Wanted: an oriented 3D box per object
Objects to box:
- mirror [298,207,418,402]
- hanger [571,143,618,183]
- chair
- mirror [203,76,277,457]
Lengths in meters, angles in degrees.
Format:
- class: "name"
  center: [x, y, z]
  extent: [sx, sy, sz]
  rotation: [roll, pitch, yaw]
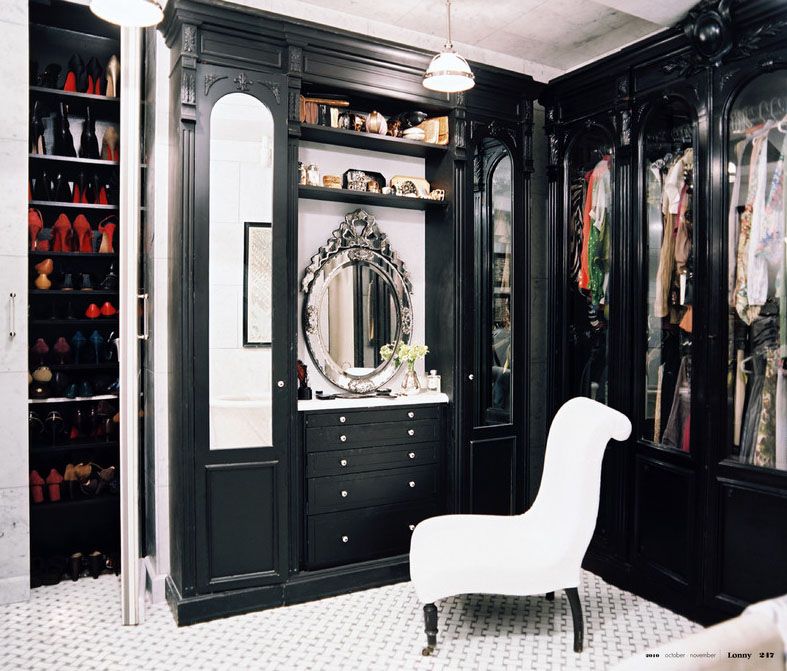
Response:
- class: "mirror"
  center: [-0.267, -0.186, 4.338]
  extent: [1.013, 1.651, 0.076]
  rotation: [-2, 0, -39]
- class: "hanger"
  center: [1.326, -1.138, 4.373]
  extent: [0.255, 0.325, 0.030]
  rotation: [6, 9, 39]
- class: "chair"
  center: [0.658, 0.969, 3.502]
  extent: [1.132, 1.140, 0.665]
  rotation: [-3, 12, -17]
- class: "mirror"
  center: [-0.844, -0.351, 3.702]
  extent: [0.380, 1.923, 0.383]
  rotation: [-2, 11, -10]
